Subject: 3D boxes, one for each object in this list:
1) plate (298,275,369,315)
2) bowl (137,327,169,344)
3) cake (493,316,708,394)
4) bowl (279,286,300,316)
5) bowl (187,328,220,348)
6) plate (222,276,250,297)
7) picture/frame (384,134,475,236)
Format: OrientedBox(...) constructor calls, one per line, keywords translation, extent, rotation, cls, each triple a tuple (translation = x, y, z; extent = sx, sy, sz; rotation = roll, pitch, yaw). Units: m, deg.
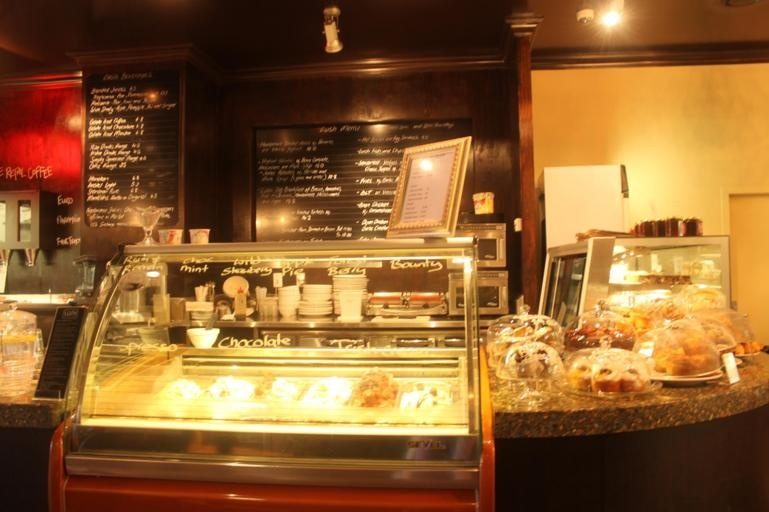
OrientedBox(translation=(-0.355, 0.247, 4.019), extent=(0.403, 0.158, 0.311), rotation=(-1, 1, 18), cls="plate")
OrientedBox(translation=(-1.241, 0.426, 3.389), extent=(0.115, 0.074, 0.107), rotation=(-1, -2, 0), cls="bowl")
OrientedBox(translation=(1.174, 0.521, 3.288), extent=(1.134, 0.359, 0.301), rotation=(0, 2, 0), cls="cake")
OrientedBox(translation=(-0.671, 0.313, 4.371), extent=(0.204, 0.246, 0.195), rotation=(0, -5, 0), cls="bowl")
OrientedBox(translation=(-0.998, 0.447, 3.406), extent=(0.128, 0.077, 0.122), rotation=(0, -10, 0), cls="bowl")
OrientedBox(translation=(-0.879, 0.175, 3.681), extent=(0.143, 0.132, 0.032), rotation=(3, -8, -1), cls="plate")
OrientedBox(translation=(0.236, -0.376, 3.452), extent=(0.441, 0.545, 0.270), rotation=(1, 2, 11), cls="picture/frame")
